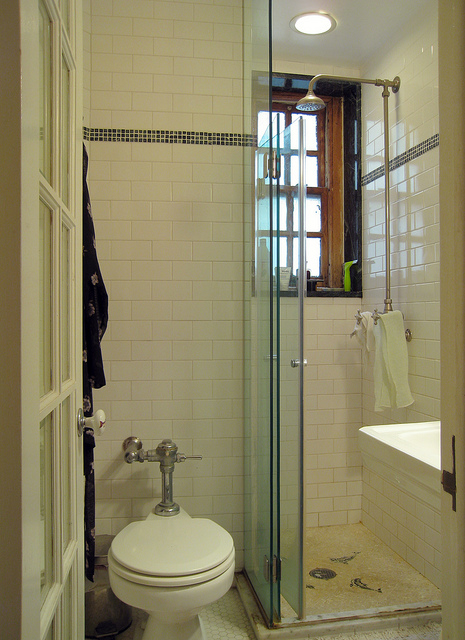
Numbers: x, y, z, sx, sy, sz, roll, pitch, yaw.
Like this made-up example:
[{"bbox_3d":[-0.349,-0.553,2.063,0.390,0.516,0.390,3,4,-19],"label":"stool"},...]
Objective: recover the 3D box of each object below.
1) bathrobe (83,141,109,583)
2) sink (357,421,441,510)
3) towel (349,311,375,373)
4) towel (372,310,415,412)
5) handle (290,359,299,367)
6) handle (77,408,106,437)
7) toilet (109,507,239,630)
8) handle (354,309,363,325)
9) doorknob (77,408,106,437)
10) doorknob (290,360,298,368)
[{"bbox_3d":[-0.428,0.157,2.015,0.103,1.207,0.397,-2,1,-10],"label":"bathrobe"},{"bbox_3d":[0.460,0.380,1.823,0.227,0.116,0.621,-3,2,17],"label":"sink"},{"bbox_3d":[0.537,0.084,2.709,0.089,0.161,0.188,-2,2,10],"label":"towel"},{"bbox_3d":[0.620,0.152,2.545,0.082,0.419,0.142,2,2,-13],"label":"towel"},{"bbox_3d":[0.190,0.128,2.007,0.013,0.021,0.018,10,-11,-43],"label":"handle"},{"bbox_3d":[-0.321,0.227,1.496,0.050,0.067,0.056,-1,-3,1],"label":"handle"},{"bbox_3d":[-0.172,0.718,1.898,0.347,0.235,0.391,-3,2,-7],"label":"toilet"},{"bbox_3d":[0.523,-0.016,2.725,0.029,0.054,0.049,3,13,1],"label":"handle"},{"bbox_3d":[-0.320,0.225,1.496,0.052,0.068,0.061,-2,-3,0],"label":"doorknob"},{"bbox_3d":[0.189,0.130,2.010,0.015,0.028,0.031,1,-6,-10],"label":"doorknob"}]
